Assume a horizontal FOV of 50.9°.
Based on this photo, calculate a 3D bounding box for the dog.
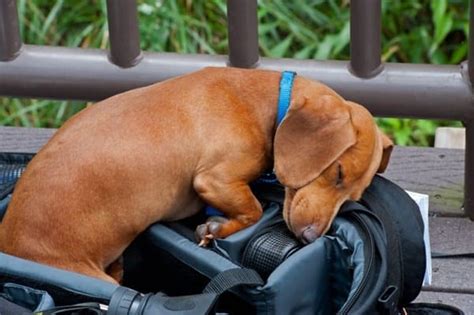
[{"bbox_3d":[-0.189,0.173,2.453,1.595,0.770,0.884,-11,34,-12],"label":"dog"}]
